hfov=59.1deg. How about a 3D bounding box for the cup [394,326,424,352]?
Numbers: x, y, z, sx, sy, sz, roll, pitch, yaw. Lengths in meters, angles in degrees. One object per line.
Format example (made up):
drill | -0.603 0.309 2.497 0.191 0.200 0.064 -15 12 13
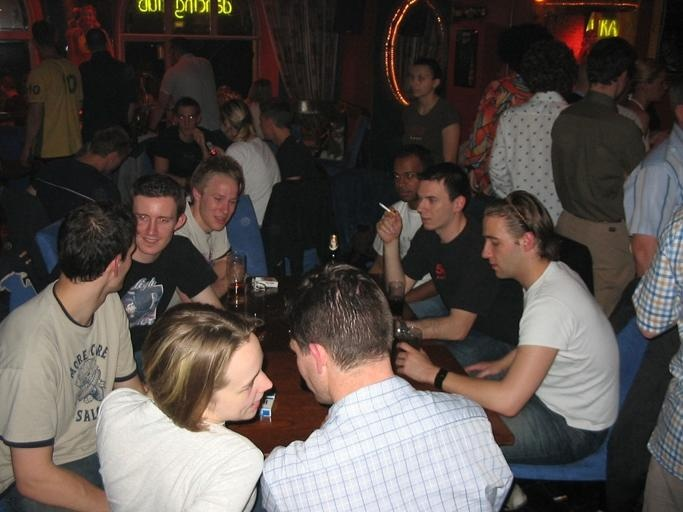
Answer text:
cup | 0.269 0.323 2.398 0.083 0.088 0.090 1 13 0

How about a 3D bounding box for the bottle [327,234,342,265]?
bottle | -0.047 -0.039 3.644 0.073 0.251 0.074 2 58 -3

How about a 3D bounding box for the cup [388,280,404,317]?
cup | 0.242 0.201 2.735 0.102 0.171 0.102 0 1 0
